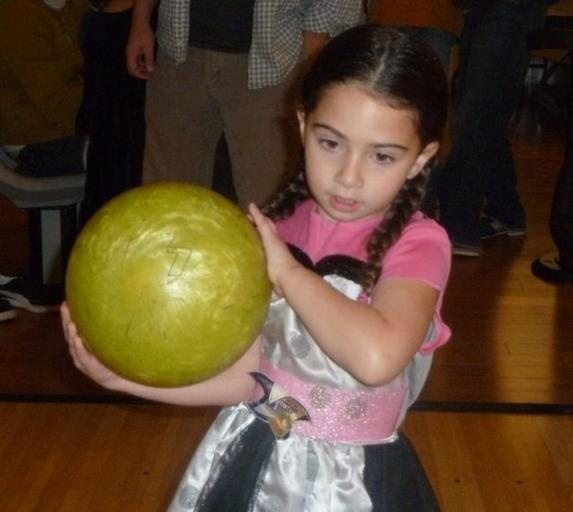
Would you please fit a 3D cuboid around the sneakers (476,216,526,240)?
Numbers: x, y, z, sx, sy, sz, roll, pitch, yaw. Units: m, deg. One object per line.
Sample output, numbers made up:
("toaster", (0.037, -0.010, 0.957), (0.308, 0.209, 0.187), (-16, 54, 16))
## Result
("sneakers", (1.466, -0.213, 3.738), (0.369, 0.209, 0.147), (4, 4, -8))
